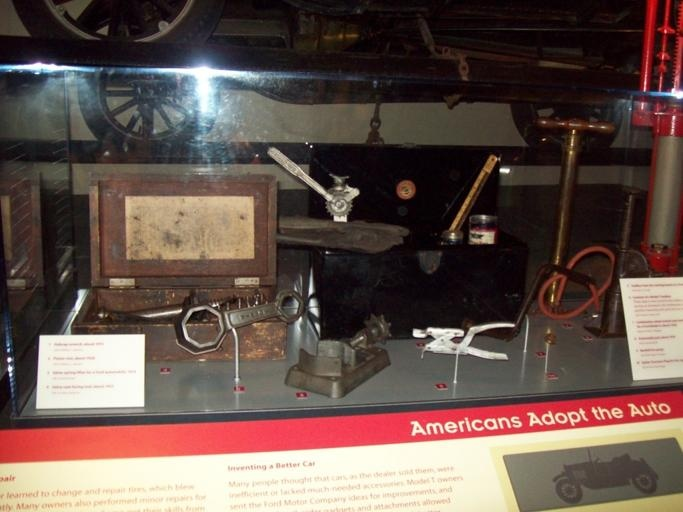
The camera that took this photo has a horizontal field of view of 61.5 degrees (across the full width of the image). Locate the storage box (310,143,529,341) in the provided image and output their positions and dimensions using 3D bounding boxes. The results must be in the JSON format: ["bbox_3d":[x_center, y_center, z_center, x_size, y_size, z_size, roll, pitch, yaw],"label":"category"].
[{"bbox_3d":[0.244,-0.070,2.004,0.704,0.370,0.624,-2,-78,-8],"label":"storage box"}]

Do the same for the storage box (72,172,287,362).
[{"bbox_3d":[-0.448,0.032,1.730,0.625,0.333,0.482,0,-74,-19],"label":"storage box"}]
